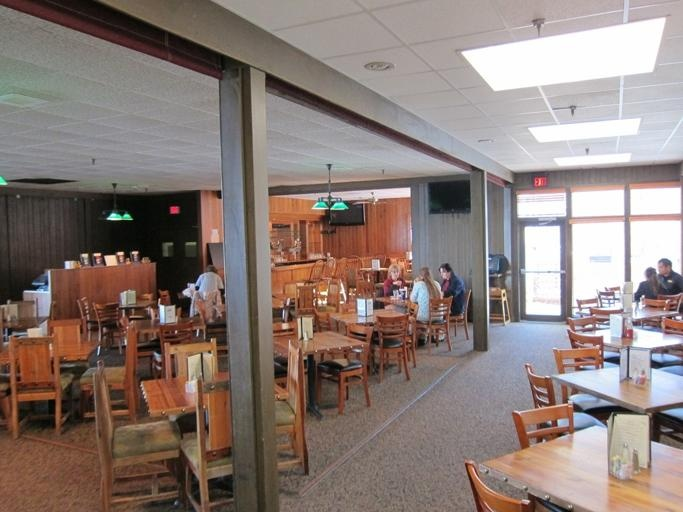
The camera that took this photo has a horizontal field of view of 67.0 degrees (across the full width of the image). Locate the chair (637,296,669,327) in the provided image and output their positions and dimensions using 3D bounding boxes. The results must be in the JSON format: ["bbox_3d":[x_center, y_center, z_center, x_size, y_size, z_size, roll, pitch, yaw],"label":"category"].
[{"bbox_3d":[4.649,0.832,7.709,0.438,0.541,0.359,7,12,43],"label":"chair"}]

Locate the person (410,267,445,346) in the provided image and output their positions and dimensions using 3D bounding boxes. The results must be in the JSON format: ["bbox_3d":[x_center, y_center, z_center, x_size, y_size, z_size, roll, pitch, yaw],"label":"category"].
[{"bbox_3d":[1.482,0.683,9.041,0.523,0.969,0.568,1,10,10],"label":"person"}]

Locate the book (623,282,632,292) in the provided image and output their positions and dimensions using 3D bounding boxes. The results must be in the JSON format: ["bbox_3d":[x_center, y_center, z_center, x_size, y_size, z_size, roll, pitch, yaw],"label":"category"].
[{"bbox_3d":[4.238,0.464,7.659,0.140,0.194,0.145,0,5,28],"label":"book"}]

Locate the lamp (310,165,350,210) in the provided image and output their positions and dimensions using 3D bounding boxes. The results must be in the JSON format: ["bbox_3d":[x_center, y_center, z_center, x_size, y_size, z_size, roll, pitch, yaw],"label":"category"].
[{"bbox_3d":[-0.171,-1.603,13.004,1.031,1.019,1.012,1,-3,-21],"label":"lamp"}]

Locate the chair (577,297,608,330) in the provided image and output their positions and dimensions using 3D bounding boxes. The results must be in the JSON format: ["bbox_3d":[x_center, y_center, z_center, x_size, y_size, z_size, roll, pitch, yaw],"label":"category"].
[{"bbox_3d":[3.916,0.889,8.058,0.484,0.621,0.435,0,6,7],"label":"chair"}]

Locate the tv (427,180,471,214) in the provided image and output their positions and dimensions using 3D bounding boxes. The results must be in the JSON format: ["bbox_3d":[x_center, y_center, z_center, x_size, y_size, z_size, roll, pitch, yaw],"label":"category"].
[{"bbox_3d":[2.468,-1.183,11.753,1.221,0.834,0.660,1,4,27],"label":"tv"}]

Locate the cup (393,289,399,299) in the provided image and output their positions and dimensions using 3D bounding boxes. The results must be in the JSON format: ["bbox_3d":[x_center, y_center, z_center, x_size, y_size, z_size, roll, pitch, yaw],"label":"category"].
[{"bbox_3d":[1.069,0.732,10.010,0.121,0.183,0.120,2,-1,0],"label":"cup"}]

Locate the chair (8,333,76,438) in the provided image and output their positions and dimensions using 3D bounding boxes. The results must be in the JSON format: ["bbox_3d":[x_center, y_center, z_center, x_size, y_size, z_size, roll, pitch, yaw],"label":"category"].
[{"bbox_3d":[-3.458,1.427,5.975,0.670,1.215,0.837,-6,11,-28],"label":"chair"}]

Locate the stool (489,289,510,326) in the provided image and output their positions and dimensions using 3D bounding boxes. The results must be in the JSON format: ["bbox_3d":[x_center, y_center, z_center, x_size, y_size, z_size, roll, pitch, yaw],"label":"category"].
[{"bbox_3d":[3.570,1.092,11.600,0.468,0.830,0.618,3,10,20],"label":"stool"}]

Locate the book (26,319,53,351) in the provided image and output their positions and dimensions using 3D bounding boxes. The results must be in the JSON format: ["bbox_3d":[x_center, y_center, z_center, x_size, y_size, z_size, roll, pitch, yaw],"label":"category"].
[{"bbox_3d":[-3.776,0.985,6.484,0.235,0.210,0.425,1,3,5],"label":"book"}]

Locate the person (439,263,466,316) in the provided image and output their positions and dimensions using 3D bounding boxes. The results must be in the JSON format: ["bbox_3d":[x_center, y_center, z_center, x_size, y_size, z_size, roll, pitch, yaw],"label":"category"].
[{"bbox_3d":[2.132,0.696,9.892,0.574,1.078,0.523,-3,10,18],"label":"person"}]

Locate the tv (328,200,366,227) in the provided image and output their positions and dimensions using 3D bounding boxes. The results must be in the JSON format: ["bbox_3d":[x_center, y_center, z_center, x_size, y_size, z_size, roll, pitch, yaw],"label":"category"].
[{"bbox_3d":[0.238,-1.540,18.232,1.182,0.809,0.165,1,2,19],"label":"tv"}]

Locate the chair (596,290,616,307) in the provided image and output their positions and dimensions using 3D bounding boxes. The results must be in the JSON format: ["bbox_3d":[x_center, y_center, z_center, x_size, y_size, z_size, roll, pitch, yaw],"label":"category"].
[{"bbox_3d":[5.096,0.825,9.962,0.247,0.379,0.270,-16,15,-35],"label":"chair"}]

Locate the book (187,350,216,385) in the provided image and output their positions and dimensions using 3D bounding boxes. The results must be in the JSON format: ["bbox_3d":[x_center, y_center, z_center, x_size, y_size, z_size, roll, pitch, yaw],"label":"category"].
[{"bbox_3d":[-1.265,0.995,4.699,0.261,0.375,0.292,1,0,-29],"label":"book"}]

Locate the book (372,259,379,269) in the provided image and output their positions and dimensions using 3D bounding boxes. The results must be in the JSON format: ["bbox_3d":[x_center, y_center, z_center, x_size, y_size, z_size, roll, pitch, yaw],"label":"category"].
[{"bbox_3d":[0.891,0.212,13.928,0.230,0.304,0.311,1,3,14],"label":"book"}]

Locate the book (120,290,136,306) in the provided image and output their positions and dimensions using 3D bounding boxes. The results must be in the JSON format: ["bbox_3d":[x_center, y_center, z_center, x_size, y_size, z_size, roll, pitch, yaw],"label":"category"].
[{"bbox_3d":[-4.066,0.808,9.913,0.235,0.213,0.127,-2,11,-37],"label":"book"}]

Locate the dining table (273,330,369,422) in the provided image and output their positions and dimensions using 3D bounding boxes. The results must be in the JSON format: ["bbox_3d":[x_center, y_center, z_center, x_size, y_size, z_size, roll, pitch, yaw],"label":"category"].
[{"bbox_3d":[-0.328,1.487,6.368,1.125,1.038,1.107,1,2,-29],"label":"dining table"}]

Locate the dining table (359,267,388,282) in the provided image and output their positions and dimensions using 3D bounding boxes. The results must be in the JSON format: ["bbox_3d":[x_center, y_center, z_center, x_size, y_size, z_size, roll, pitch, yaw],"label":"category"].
[{"bbox_3d":[0.939,0.554,15.320,0.549,0.522,0.541,0,-2,-7],"label":"dining table"}]

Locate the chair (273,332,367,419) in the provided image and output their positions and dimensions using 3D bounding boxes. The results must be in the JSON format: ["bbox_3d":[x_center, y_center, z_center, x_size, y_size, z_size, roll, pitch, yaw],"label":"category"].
[{"bbox_3d":[-0.230,1.350,6.341,1.116,1.021,1.097,0,2,-17],"label":"chair"}]

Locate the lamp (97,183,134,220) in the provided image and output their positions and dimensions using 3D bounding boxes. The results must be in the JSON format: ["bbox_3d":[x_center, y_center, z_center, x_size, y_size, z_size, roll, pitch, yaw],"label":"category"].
[{"bbox_3d":[-5.657,-1.388,12.914,0.788,0.893,0.663,2,7,1],"label":"lamp"}]
